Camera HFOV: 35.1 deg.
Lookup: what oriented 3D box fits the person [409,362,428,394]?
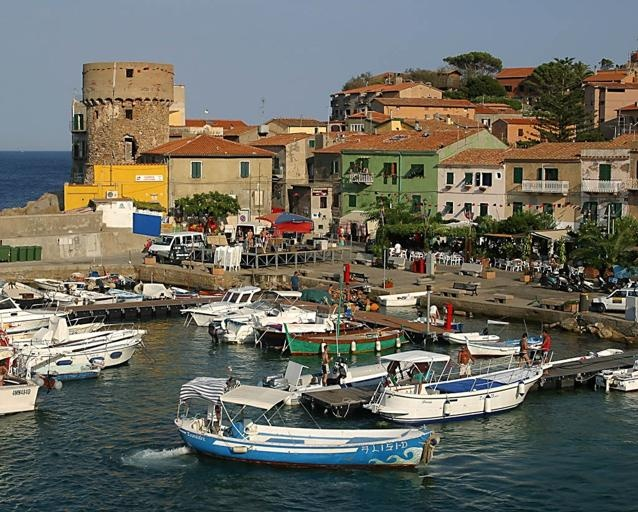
[{"bbox_3d":[4.289,5.243,43.636,0.691,1.214,0.310,1,-10,25],"label":"person"}]

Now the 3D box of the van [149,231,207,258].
[{"bbox_3d":[-10.181,-0.853,73.061,2.199,1.275,2.906,2,1,44],"label":"van"}]

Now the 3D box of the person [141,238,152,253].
[{"bbox_3d":[-13.017,-0.771,76.512,0.950,1.163,0.488,2,-9,-5],"label":"person"}]

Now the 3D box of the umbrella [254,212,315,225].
[{"bbox_3d":[-2.545,-2.821,75.663,2.381,0.926,3.449,0,-1,36],"label":"umbrella"}]

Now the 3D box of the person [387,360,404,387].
[{"bbox_3d":[3.340,5.141,43.626,0.976,0.695,1.352,7,-19,3],"label":"person"}]
